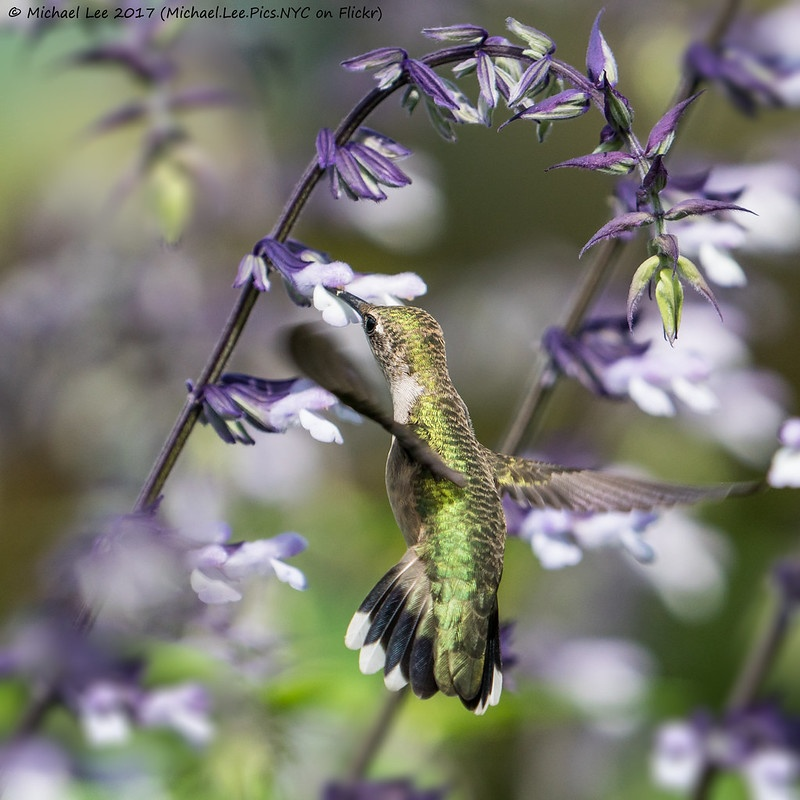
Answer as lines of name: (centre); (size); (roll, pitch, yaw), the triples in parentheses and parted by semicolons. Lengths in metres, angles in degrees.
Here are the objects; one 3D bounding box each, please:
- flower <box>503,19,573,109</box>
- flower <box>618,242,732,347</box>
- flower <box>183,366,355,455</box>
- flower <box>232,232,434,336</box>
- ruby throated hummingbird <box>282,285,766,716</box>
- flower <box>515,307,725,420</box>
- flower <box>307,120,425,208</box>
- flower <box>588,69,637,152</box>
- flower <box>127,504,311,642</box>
flower: (0.152, -0.391, 1.492); (0.067, 0.038, 0.105); (18, 12, -38)
flower: (0.282, -0.119, 1.353); (0.098, 0.114, 0.072); (-3, -6, -17)
flower: (-0.154, 0.011, 1.562); (0.147, 0.057, 0.103); (19, 4, -13)
flower: (-0.088, -0.157, 1.590); (0.201, 0.078, 0.124); (9, 19, -38)
ruby throated hummingbird: (0.049, 0.162, 1.710); (0.633, 0.318, 0.530); (5, 31, -43)
flower: (0.343, -0.077, 1.895); (0.197, 0.074, 0.190); (18, 14, -44)
flower: (-0.045, -0.292, 1.574); (0.043, 0.106, 0.105); (-27, 72, -38)
flower: (0.244, -0.327, 1.425); (0.025, 0.066, 0.027); (-6, 50, 16)
flower: (-0.233, 0.217, 1.619); (0.227, 0.229, 0.187); (-1, 18, -5)
